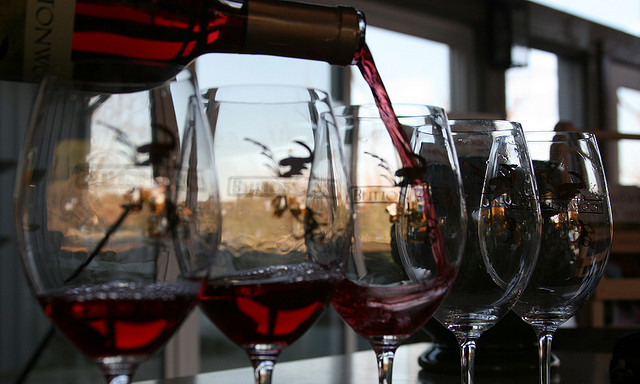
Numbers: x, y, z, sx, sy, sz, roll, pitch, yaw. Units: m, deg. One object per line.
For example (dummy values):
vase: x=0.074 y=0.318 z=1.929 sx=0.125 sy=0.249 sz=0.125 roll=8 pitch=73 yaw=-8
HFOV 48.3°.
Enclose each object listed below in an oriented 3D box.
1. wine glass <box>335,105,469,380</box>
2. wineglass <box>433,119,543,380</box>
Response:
wine glass: x=0.099 y=0.059 z=0.863 sx=0.159 sy=0.315 sz=0.059 roll=-1 pitch=0 yaw=2
wineglass: x=0.213 y=0.072 z=0.907 sx=0.135 sy=0.329 sz=0.066 roll=-1 pitch=0 yaw=7
